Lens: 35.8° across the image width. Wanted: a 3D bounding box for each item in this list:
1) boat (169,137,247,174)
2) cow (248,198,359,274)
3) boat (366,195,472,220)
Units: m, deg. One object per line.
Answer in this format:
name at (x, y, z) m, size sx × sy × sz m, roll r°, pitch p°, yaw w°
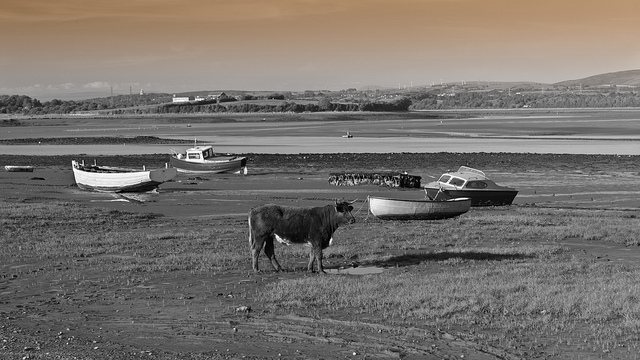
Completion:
boat at (-9.836, -1.684, 89.734) m, size 8.129 × 2.171 × 2.356 m, roll 5°, pitch 8°, yaw 25°
cow at (-1.138, 2.674, 54.555) m, size 9.305 × 4.127 × 4.133 m, roll -1°, pitch -2°, yaw -7°
boat at (6.499, 1.849, 65.136) m, size 6.871 × 1.275 × 1.685 m, roll 1°, pitch -8°, yaw 1°
